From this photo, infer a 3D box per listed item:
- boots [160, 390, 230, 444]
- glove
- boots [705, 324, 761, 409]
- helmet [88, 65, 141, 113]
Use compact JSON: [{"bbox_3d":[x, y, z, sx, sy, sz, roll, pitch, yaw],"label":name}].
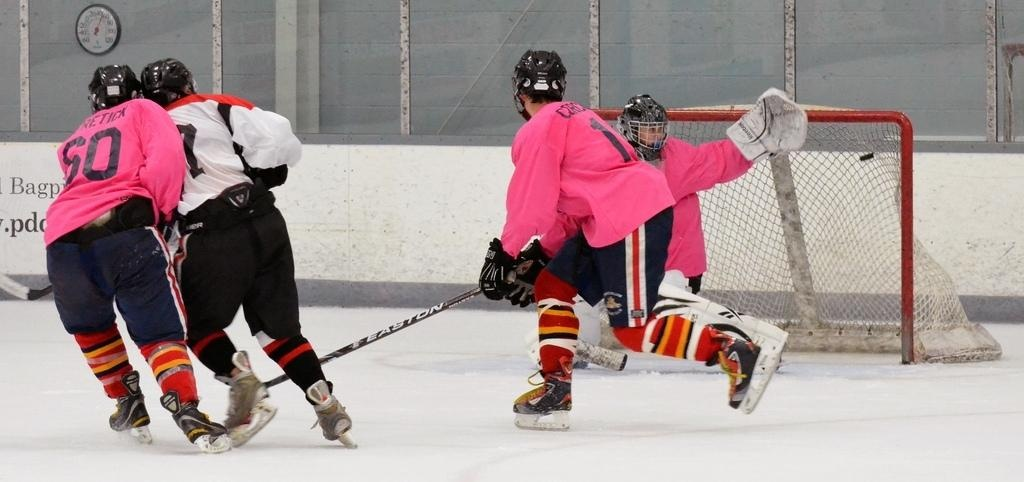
[{"bbox_3d":[-2.403,1.373,10.969,0.200,0.400,0.619,-27,-13,17],"label":"boots"},{"bbox_3d":[-0.035,0.280,11.285,0.582,0.519,0.229,2,24,-39],"label":"glove"},{"bbox_3d":[1.759,0.970,10.976,0.291,0.625,0.227,0,26,3],"label":"boots"},{"bbox_3d":[-3.120,-1.191,11.175,0.352,0.360,0.395,-5,10,-3],"label":"helmet"}]
